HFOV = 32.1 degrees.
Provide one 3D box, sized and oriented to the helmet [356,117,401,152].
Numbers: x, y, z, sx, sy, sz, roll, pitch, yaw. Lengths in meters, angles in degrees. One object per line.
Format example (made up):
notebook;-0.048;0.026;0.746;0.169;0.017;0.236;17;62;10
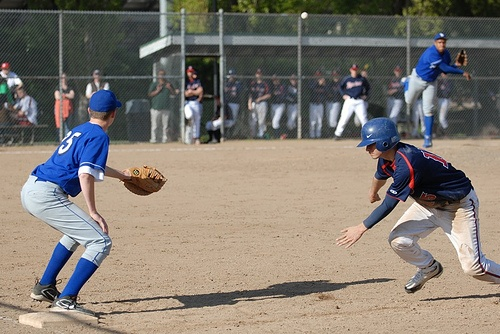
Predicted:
helmet;2.123;-0.559;14.422;0.652;0.496;0.479;-24;8;0

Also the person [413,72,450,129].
person;5.978;-2.068;27.413;1.343;1.942;0.559;3;13;5

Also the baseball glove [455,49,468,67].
baseball glove;5.108;-2.681;21.097;0.373;0.526;0.170;-1;-21;6

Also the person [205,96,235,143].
person;-0.924;-1.404;25.622;0.625;1.346;0.906;1;4;18

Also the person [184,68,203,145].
person;-1.646;-1.747;24.983;0.502;2.161;0.699;-1;4;-4

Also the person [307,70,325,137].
person;2.043;-1.810;26.442;0.500;1.899;0.549;0;4;4

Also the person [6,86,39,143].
person;-6.684;-1.571;25.526;0.756;1.443;0.747;-4;13;-28

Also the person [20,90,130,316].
person;-2.919;0.560;14.273;1.411;3.625;0.621;0;4;12

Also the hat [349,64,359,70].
hat;2.921;-2.795;24.400;0.194;0.186;0.463;0;4;6

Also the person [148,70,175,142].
person;-2.587;-1.663;25.702;0.825;1.893;0.640;-1;4;-1

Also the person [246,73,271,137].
person;0.252;-1.756;26.068;0.616;1.819;0.584;-1;4;0
